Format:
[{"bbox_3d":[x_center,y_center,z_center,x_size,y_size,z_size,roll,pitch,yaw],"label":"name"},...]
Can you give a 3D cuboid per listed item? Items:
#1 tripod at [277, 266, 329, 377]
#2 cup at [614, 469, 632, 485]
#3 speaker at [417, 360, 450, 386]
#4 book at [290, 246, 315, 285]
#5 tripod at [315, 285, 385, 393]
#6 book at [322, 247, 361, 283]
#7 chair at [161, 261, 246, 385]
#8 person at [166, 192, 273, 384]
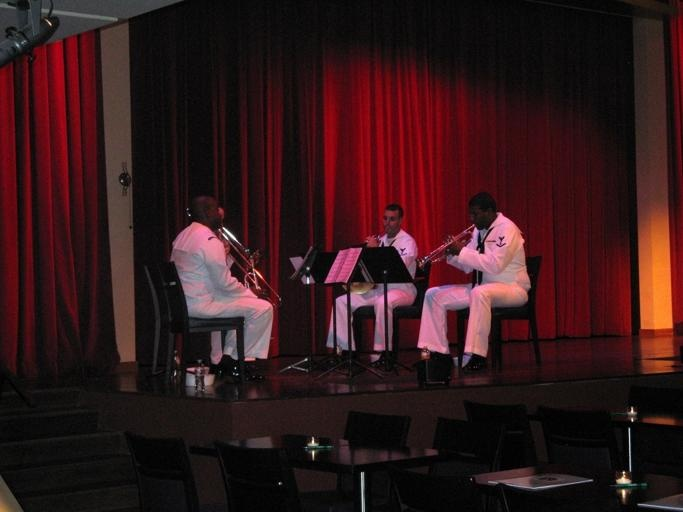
[{"bbox_3d":[-0.412,0.635,6.934,0.432,1.121,0.826,1,-6,5],"label":"tripod"},{"bbox_3d":[1.102,0.853,2.712,0.047,0.045,0.050,-1,-6,0],"label":"cup"},{"bbox_3d":[0.635,0.804,4.824,0.203,0.162,0.153,8,-13,-31],"label":"speaker"},{"bbox_3d":[-0.338,0.091,5.951,0.114,0.217,0.348,38,-25,24],"label":"book"},{"bbox_3d":[0.046,0.643,5.718,0.377,0.829,0.428,2,3,-31],"label":"tripod"},{"bbox_3d":[0.017,0.062,5.137,0.063,0.258,0.266,32,-17,-28],"label":"book"},{"bbox_3d":[-1.054,0.434,5.520,0.586,0.951,0.637,-2,15,-9],"label":"chair"},{"bbox_3d":[-0.944,0.213,5.716,0.737,1.527,0.668,0,-1,-7],"label":"person"}]
